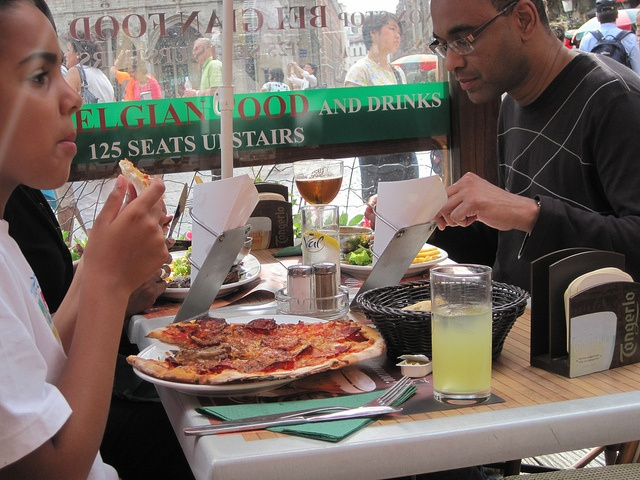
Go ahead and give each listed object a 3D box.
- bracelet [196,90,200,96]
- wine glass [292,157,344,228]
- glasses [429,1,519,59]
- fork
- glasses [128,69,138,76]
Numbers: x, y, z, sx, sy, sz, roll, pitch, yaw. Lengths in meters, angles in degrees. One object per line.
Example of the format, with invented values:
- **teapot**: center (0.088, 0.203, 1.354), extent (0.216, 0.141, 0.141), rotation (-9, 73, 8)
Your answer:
- **bracelet**: center (-0.774, -0.935, 3.050), extent (0.028, 0.023, 0.027), rotation (2, 0, -8)
- **wine glass**: center (-0.010, -0.189, 1.635), extent (0.176, 0.173, 0.167), rotation (-1, 1, -10)
- **glasses**: center (0.633, -0.826, 1.933), extent (0.220, 0.063, 0.206), rotation (-37, 13, -1)
- **fork**: center (-0.010, 0.295, 0.876), extent (0.380, 0.051, 0.050), rotation (-2, -4, -26)
- **glasses**: center (-1.149, -1.036, 2.956), extent (0.043, 0.035, 0.049), rotation (0, 9, -5)
